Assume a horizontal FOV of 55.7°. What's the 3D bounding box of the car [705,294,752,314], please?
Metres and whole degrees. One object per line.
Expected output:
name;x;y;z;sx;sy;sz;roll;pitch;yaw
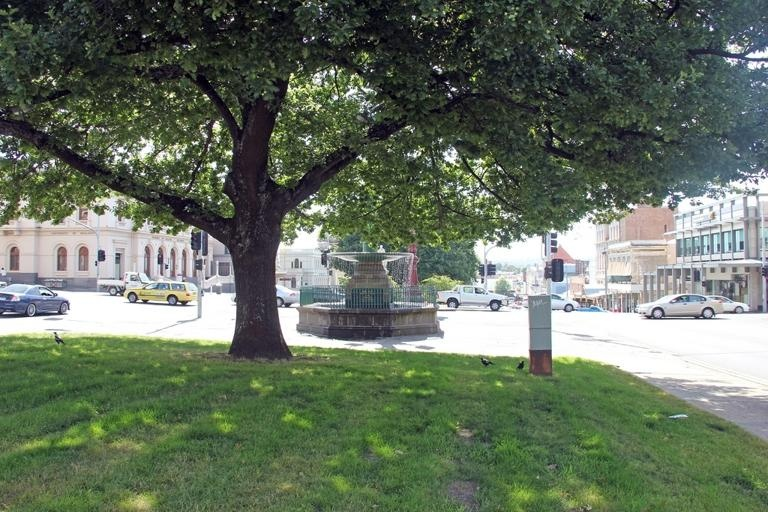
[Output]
car;22.932;3.246;48.544;3.124;0.985;1.387;-3;2;-4

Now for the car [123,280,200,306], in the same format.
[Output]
car;-13.581;2.263;44.780;3.920;1.405;1.777;3;2;14

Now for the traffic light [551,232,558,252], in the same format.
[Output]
traffic light;4.914;-0.399;21.260;0.167;0.533;0.629;3;2;21

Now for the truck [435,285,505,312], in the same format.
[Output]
truck;5.507;2.681;45.951;3.926;1.493;1.974;-2;-2;3

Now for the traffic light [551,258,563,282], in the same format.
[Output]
traffic light;4.873;0.388;20.643;0.266;0.650;0.537;2;2;-2

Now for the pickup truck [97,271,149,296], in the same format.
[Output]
pickup truck;-19.668;2.130;54.800;2.846;1.340;1.601;-3;-2;10
